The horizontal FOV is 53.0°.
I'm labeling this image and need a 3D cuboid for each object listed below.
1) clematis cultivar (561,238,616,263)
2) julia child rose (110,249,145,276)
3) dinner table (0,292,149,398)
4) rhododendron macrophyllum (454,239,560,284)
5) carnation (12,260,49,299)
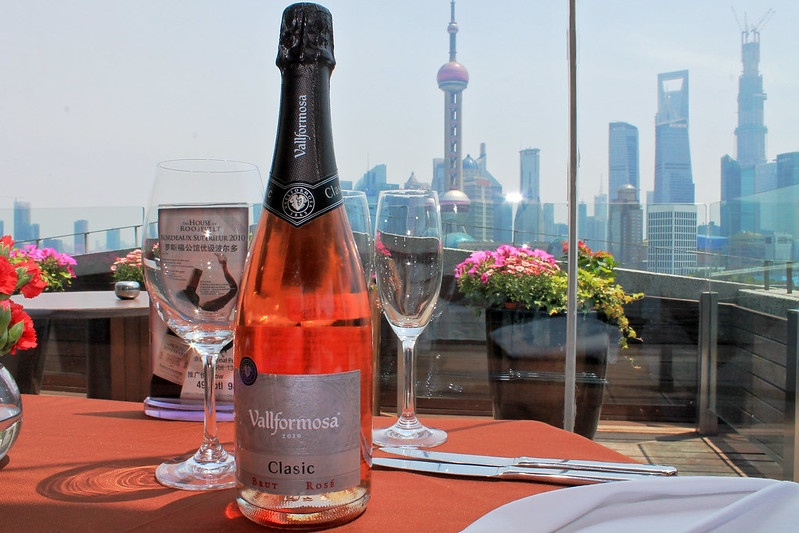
[{"bbox_3d":[1.285,-0.151,5.497,0.241,0.116,0.235,11,5,26],"label":"clematis cultivar"},{"bbox_3d":[-1.966,-0.031,5.816,0.226,0.109,0.219,-5,5,-36],"label":"julia child rose"},{"bbox_3d":[-1.966,0.504,5.431,0.884,0.530,0.929,-5,3,31],"label":"dinner table"},{"bbox_3d":[0.732,-0.019,5.540,0.690,0.259,0.159,0,3,-2],"label":"rhododendron macrophyllum"},{"bbox_3d":[-1.813,0.074,3.968,0.180,0.164,0.097,8,20,0],"label":"carnation"}]
